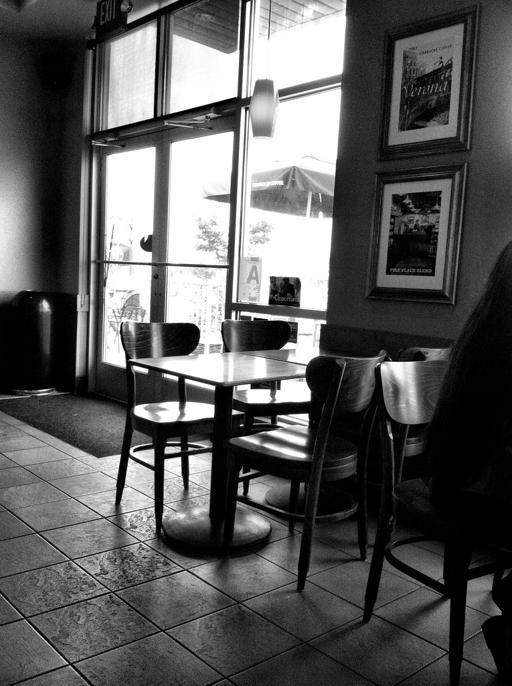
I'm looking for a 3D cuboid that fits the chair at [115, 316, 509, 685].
[{"bbox_3d":[0.149,0.502,2.618,1.045,0.708,1.067,2,-1,36],"label":"chair"}]
